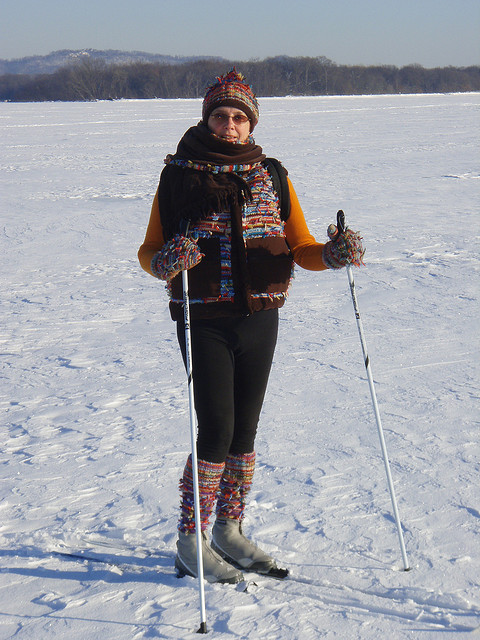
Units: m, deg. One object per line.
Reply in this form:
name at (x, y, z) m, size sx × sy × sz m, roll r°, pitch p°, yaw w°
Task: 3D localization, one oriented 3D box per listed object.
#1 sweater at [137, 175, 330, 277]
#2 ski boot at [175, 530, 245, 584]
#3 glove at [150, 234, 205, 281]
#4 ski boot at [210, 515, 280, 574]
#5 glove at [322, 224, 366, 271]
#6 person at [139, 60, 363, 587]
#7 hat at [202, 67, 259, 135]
sweater at (-0.043, -0.268, 2.583) m, size 0.503 × 0.379 × 0.349 m, roll -8°, pitch 7°, yaw -15°
ski boot at (-0.106, 0.731, 2.499) m, size 0.229 × 0.135 × 0.080 m, roll 5°, pitch 2°, yaw 29°
glove at (-0.196, -0.179, 2.388) m, size 0.195 × 0.076 × 0.139 m, roll -19°, pitch -1°, yaw -41°
ski boot at (0.022, 0.703, 2.576) m, size 0.278 × 0.168 × 0.104 m, roll 6°, pitch 6°, yaw 43°
glove at (0.327, -0.224, 2.503) m, size 0.124 × 0.080 × 0.149 m, roll -31°, pitch 47°, yaw -20°
person at (0.040, 0.001, 2.557) m, size 0.686 × 1.546 × 0.706 m, roll -3°, pitch 18°, yaw -7°
hat at (-0.029, -0.686, 2.526) m, size 0.177 × 0.202 × 0.198 m, roll -2°, pitch 17°, yaw -2°
